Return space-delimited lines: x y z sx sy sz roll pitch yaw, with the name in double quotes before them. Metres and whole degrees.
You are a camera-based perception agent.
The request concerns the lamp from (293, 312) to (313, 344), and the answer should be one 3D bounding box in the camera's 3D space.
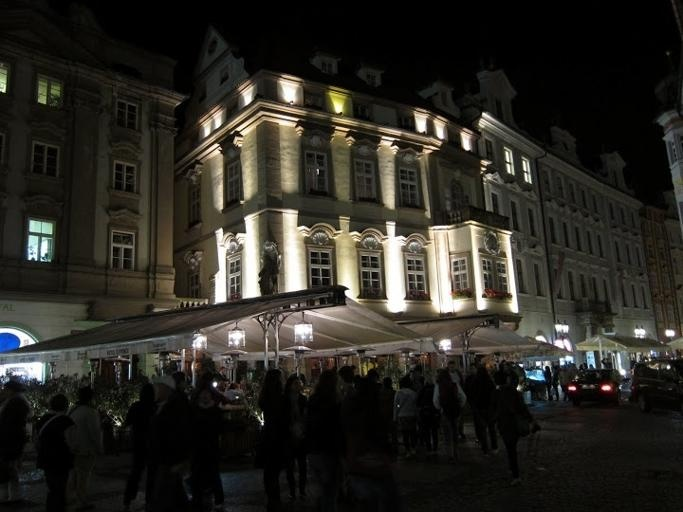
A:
"lamp" -1.132 2.081 17.076 0.461 0.953 0.958 -2 -13 -9
